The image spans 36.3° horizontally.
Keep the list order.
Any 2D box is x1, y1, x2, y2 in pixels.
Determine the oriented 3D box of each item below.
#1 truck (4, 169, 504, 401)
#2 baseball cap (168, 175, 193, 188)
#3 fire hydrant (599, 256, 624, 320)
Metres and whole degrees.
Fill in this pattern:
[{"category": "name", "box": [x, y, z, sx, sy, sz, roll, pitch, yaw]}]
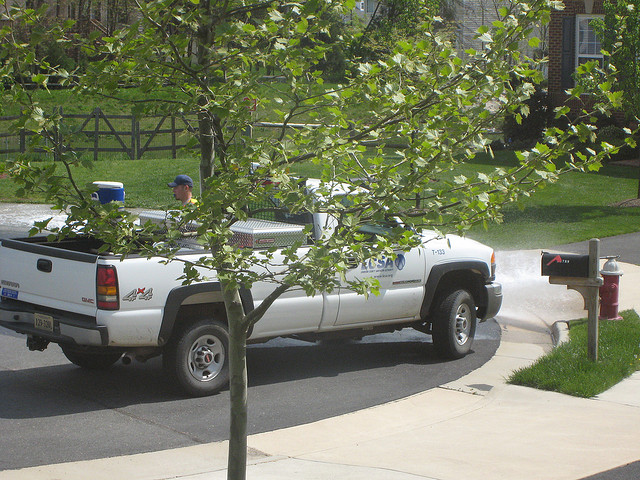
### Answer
[{"category": "truck", "box": [-0.118, 0.558, 9.724, 5.407, 1.601, 2.495, -4, 6, -35]}, {"category": "baseball cap", "box": [-1.663, -0.697, 11.519, 0.276, 0.117, 0.159, 1, 4, -2]}, {"category": "fire hydrant", "box": [3.656, 0.614, 12.249, 0.248, 0.827, 0.351, 3, 12, 16]}]
